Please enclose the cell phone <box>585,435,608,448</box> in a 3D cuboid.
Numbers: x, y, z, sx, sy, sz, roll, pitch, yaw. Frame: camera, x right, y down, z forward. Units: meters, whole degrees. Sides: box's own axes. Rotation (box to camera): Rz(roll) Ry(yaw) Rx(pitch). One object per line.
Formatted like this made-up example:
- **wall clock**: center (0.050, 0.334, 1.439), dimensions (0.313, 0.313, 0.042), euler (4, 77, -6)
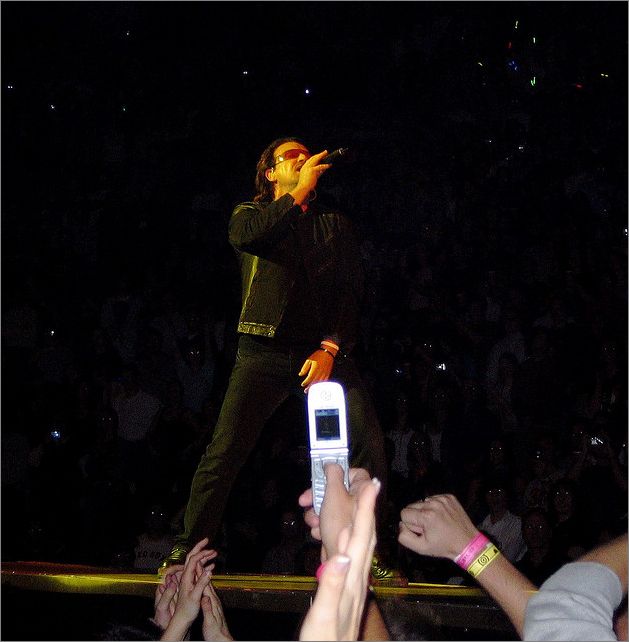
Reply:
- **cell phone**: center (1.336, 0.572, 2.970), dimensions (0.044, 0.020, 0.063), euler (-6, 28, 6)
